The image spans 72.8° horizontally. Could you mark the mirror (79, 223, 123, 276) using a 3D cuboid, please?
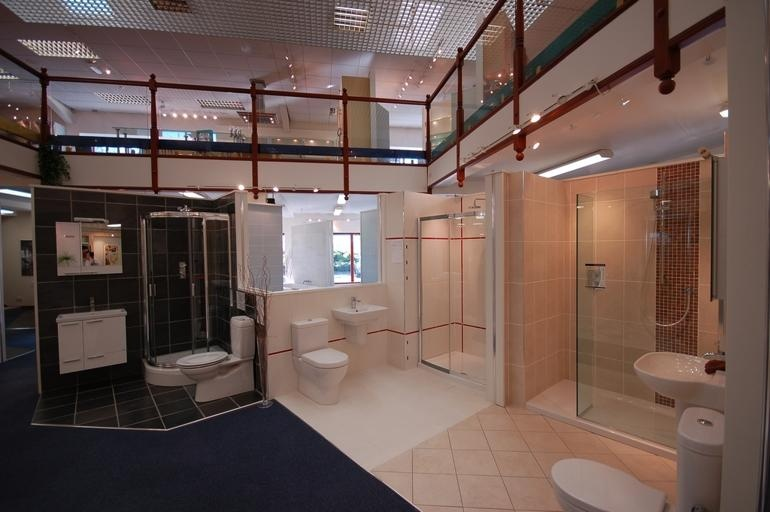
[{"bbox_3d":[-4.638,-0.082,8.563,0.545,0.895,0.062,-2,31,-21],"label":"mirror"}]

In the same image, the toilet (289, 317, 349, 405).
[{"bbox_3d":[-1.005,1.616,8.062,0.574,1.200,0.896,-5,4,-35],"label":"toilet"}]

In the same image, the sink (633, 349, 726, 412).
[{"bbox_3d":[3.676,1.548,6.506,0.659,0.336,0.874,-19,19,-32],"label":"sink"}]

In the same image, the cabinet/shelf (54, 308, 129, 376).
[{"bbox_3d":[-4.803,1.348,8.520,0.952,0.876,0.520,-4,9,-39],"label":"cabinet/shelf"}]
